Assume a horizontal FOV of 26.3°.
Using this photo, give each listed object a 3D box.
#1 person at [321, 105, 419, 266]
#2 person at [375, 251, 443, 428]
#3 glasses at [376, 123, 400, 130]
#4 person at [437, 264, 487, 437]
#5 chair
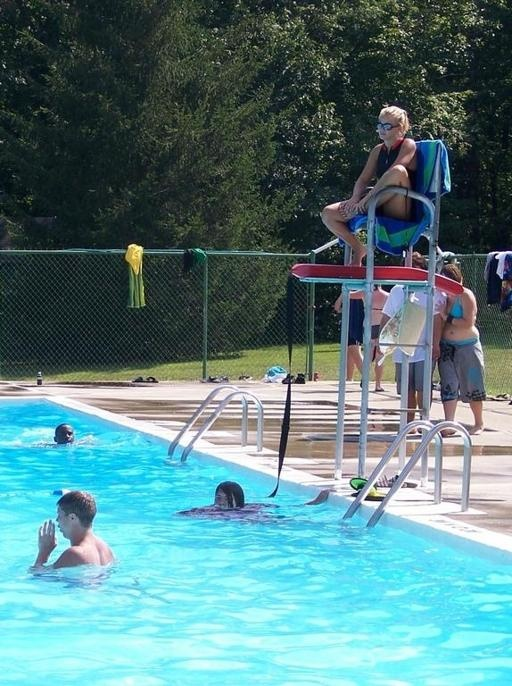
[{"bbox_3d":[0.853,-1.124,7.782,0.531,1.121,0.813,-6,6,-32],"label":"person"},{"bbox_3d":[1.509,0.053,10.382,0.528,1.644,0.471,2,34,19],"label":"person"},{"bbox_3d":[0.917,-1.509,7.587,0.082,0.031,0.083,4,7,-33],"label":"glasses"},{"bbox_3d":[1.950,0.193,10.465,0.422,1.471,0.869,-1,6,20],"label":"person"},{"bbox_3d":[1.252,-1.054,7.990,0.725,0.896,0.612,4,10,41],"label":"chair"}]
